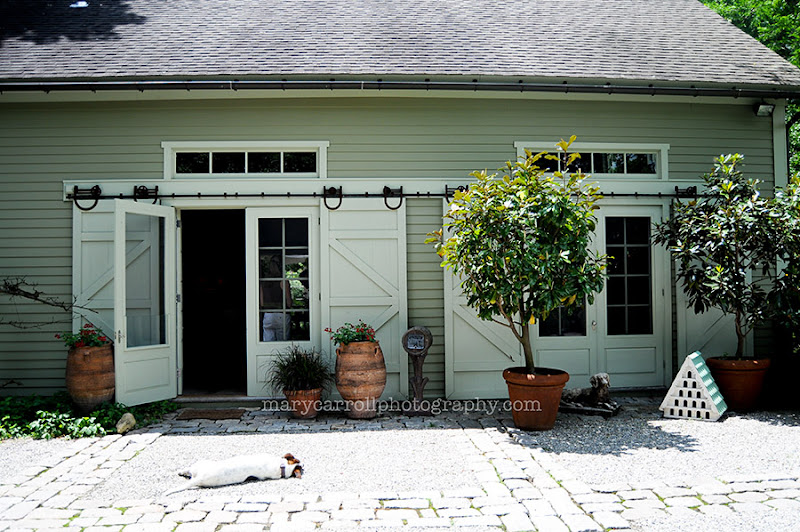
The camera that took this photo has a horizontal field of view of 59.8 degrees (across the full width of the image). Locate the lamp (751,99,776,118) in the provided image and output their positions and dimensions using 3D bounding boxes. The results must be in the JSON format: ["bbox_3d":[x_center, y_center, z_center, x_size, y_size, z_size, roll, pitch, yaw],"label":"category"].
[{"bbox_3d":[5.425,-2.332,10.367,0.327,0.240,0.165,3,15,13],"label":"lamp"}]

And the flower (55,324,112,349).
[{"bbox_3d":[-4.237,0.963,9.337,0.493,0.232,0.489,-1,-2,38],"label":"flower"}]

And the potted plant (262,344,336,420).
[{"bbox_3d":[-1.430,1.609,9.788,0.960,0.892,0.948,-6,-5,40],"label":"potted plant"}]

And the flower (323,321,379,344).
[{"bbox_3d":[-0.657,0.971,9.612,0.732,0.406,0.625,-2,15,-5],"label":"flower"}]

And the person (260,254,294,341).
[{"bbox_3d":[-1.795,0.416,9.965,0.425,1.204,0.432,-3,15,-9],"label":"person"}]

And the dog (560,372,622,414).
[{"bbox_3d":[2.611,1.685,9.546,0.647,0.355,0.624,-2,-1,20],"label":"dog"}]

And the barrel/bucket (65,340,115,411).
[{"bbox_3d":[-4.164,1.508,9.410,0.713,0.789,0.672,-2,-1,0],"label":"barrel/bucket"}]

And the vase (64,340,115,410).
[{"bbox_3d":[-4.026,1.457,9.427,0.810,0.936,0.793,4,-7,-42],"label":"vase"}]

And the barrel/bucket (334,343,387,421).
[{"bbox_3d":[-0.581,1.550,9.520,0.855,0.898,0.834,-3,-8,0],"label":"barrel/bucket"}]
